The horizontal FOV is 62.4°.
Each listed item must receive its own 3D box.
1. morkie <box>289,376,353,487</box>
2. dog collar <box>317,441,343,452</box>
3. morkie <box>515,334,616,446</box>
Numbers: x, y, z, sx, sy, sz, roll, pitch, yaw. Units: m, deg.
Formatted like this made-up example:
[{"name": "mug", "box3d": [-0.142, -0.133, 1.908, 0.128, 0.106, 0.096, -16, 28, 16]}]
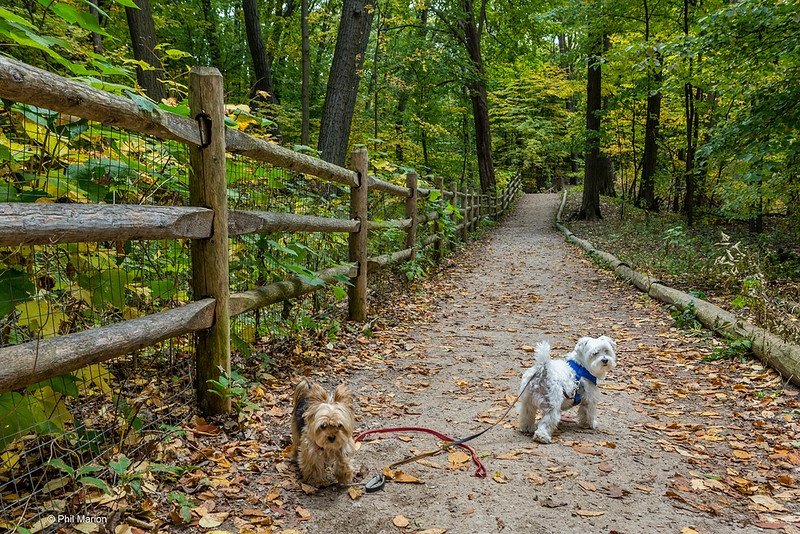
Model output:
[{"name": "morkie", "box3d": [-0.669, 1.397, 5.636, 0.608, 0.835, 0.422, 6, 16, 10]}, {"name": "dog collar", "box3d": [-0.581, 1.504, 5.494, 0.216, 0.078, 0.073, 2, 15, -8]}, {"name": "morkie", "box3d": [1.587, 1.103, 6.296, 1.124, 0.922, 0.526, -1, 9, -38]}]
